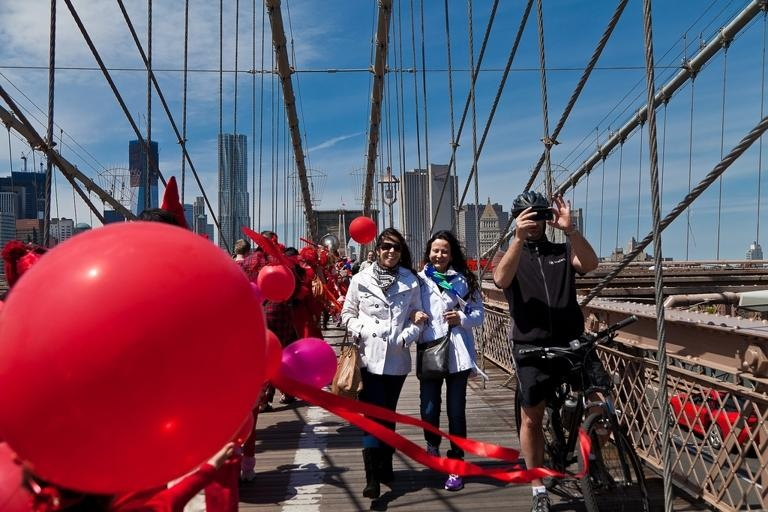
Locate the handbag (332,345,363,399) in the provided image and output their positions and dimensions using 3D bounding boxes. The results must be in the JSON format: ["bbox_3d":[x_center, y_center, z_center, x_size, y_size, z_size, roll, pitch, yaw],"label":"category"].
[{"bbox_3d":[-0.235,0.801,4.540,0.159,0.393,0.312,13,-39,-10],"label":"handbag"}]

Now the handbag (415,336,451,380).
[{"bbox_3d":[0.384,0.762,4.926,0.240,0.301,0.111,-18,-43,22],"label":"handbag"}]
